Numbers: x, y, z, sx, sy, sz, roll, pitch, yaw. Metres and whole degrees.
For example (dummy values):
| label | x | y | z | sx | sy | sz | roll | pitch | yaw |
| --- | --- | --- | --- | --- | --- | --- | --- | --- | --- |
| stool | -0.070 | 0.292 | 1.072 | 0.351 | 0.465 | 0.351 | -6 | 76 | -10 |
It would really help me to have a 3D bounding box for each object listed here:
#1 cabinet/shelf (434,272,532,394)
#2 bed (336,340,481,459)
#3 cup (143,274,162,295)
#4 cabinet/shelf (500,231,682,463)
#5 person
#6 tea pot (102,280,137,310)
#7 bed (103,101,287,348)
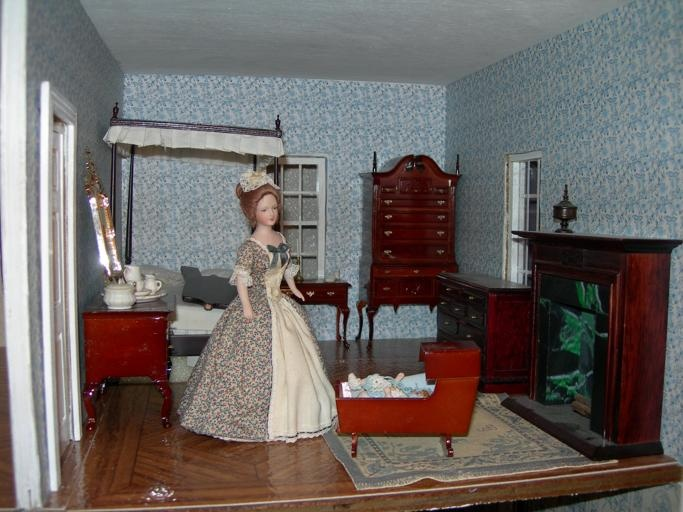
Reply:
| label | x | y | z | sx | sy | sz | roll | pitch | yaw |
| --- | --- | --- | --- | --- | --- | --- | --- | --- | --- |
| cabinet/shelf | 1.434 | 0.781 | 5.250 | 0.514 | 0.818 | 1.227 | 0 | 5 | -7 |
| bed | 0.498 | 1.065 | 4.189 | 1.164 | 0.835 | 0.733 | 1 | 3 | 0 |
| cup | -1.746 | 0.270 | 4.980 | 0.207 | 0.195 | 0.129 | 3 | -7 | -35 |
| cabinet/shelf | 2.132 | 0.788 | 4.436 | 0.866 | 2.060 | 1.802 | 0 | 4 | -7 |
| person | -0.699 | 0.395 | 4.525 | 1.323 | 2.218 | 0.687 | 0 | 7 | -1 |
| tea pot | -1.895 | 0.330 | 4.537 | 0.233 | 0.231 | 0.233 | 1 | 5 | 0 |
| bed | -1.657 | -0.843 | 6.425 | 2.285 | 1.998 | 1.320 | 0 | 5 | -12 |
